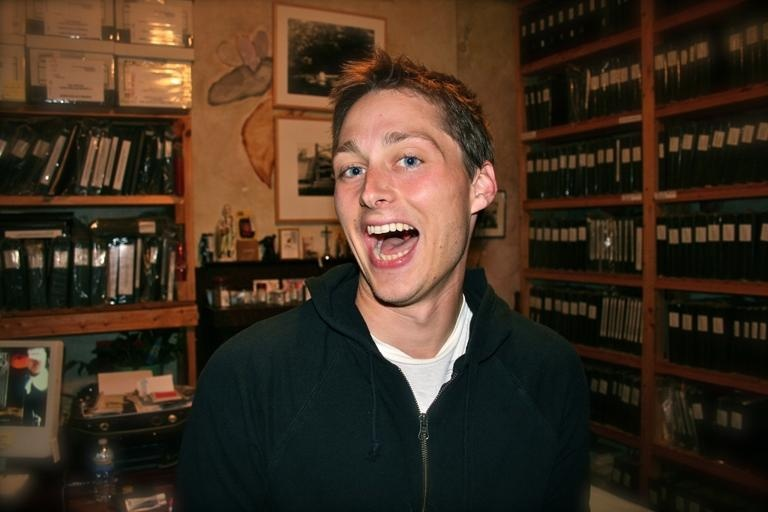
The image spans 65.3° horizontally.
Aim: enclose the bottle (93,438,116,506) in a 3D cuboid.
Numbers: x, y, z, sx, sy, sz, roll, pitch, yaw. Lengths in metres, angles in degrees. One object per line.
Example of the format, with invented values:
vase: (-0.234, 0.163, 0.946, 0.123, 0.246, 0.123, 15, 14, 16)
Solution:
bottle: (-1.558, 1.189, 3.334, 0.113, 0.264, 0.204, -1, 0, -26)
